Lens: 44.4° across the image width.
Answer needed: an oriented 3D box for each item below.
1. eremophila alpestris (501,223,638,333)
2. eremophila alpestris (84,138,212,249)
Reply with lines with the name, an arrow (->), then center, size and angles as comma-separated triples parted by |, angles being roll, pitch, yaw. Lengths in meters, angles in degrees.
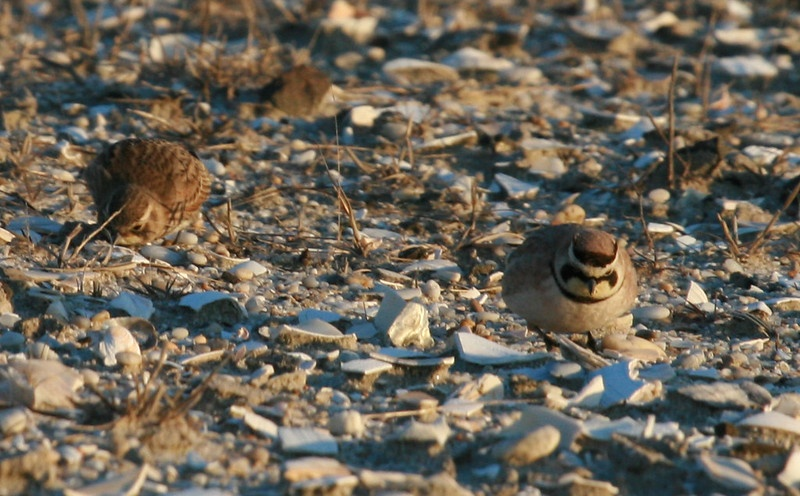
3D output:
eremophila alpestris -> 1.122, 0.224, 6.575 | 0.866, 0.788, 0.552 | 17, 46, 11
eremophila alpestris -> -1.878, -0.450, 7.378 | 0.736, 0.639, 0.882 | 1, 51, -3
